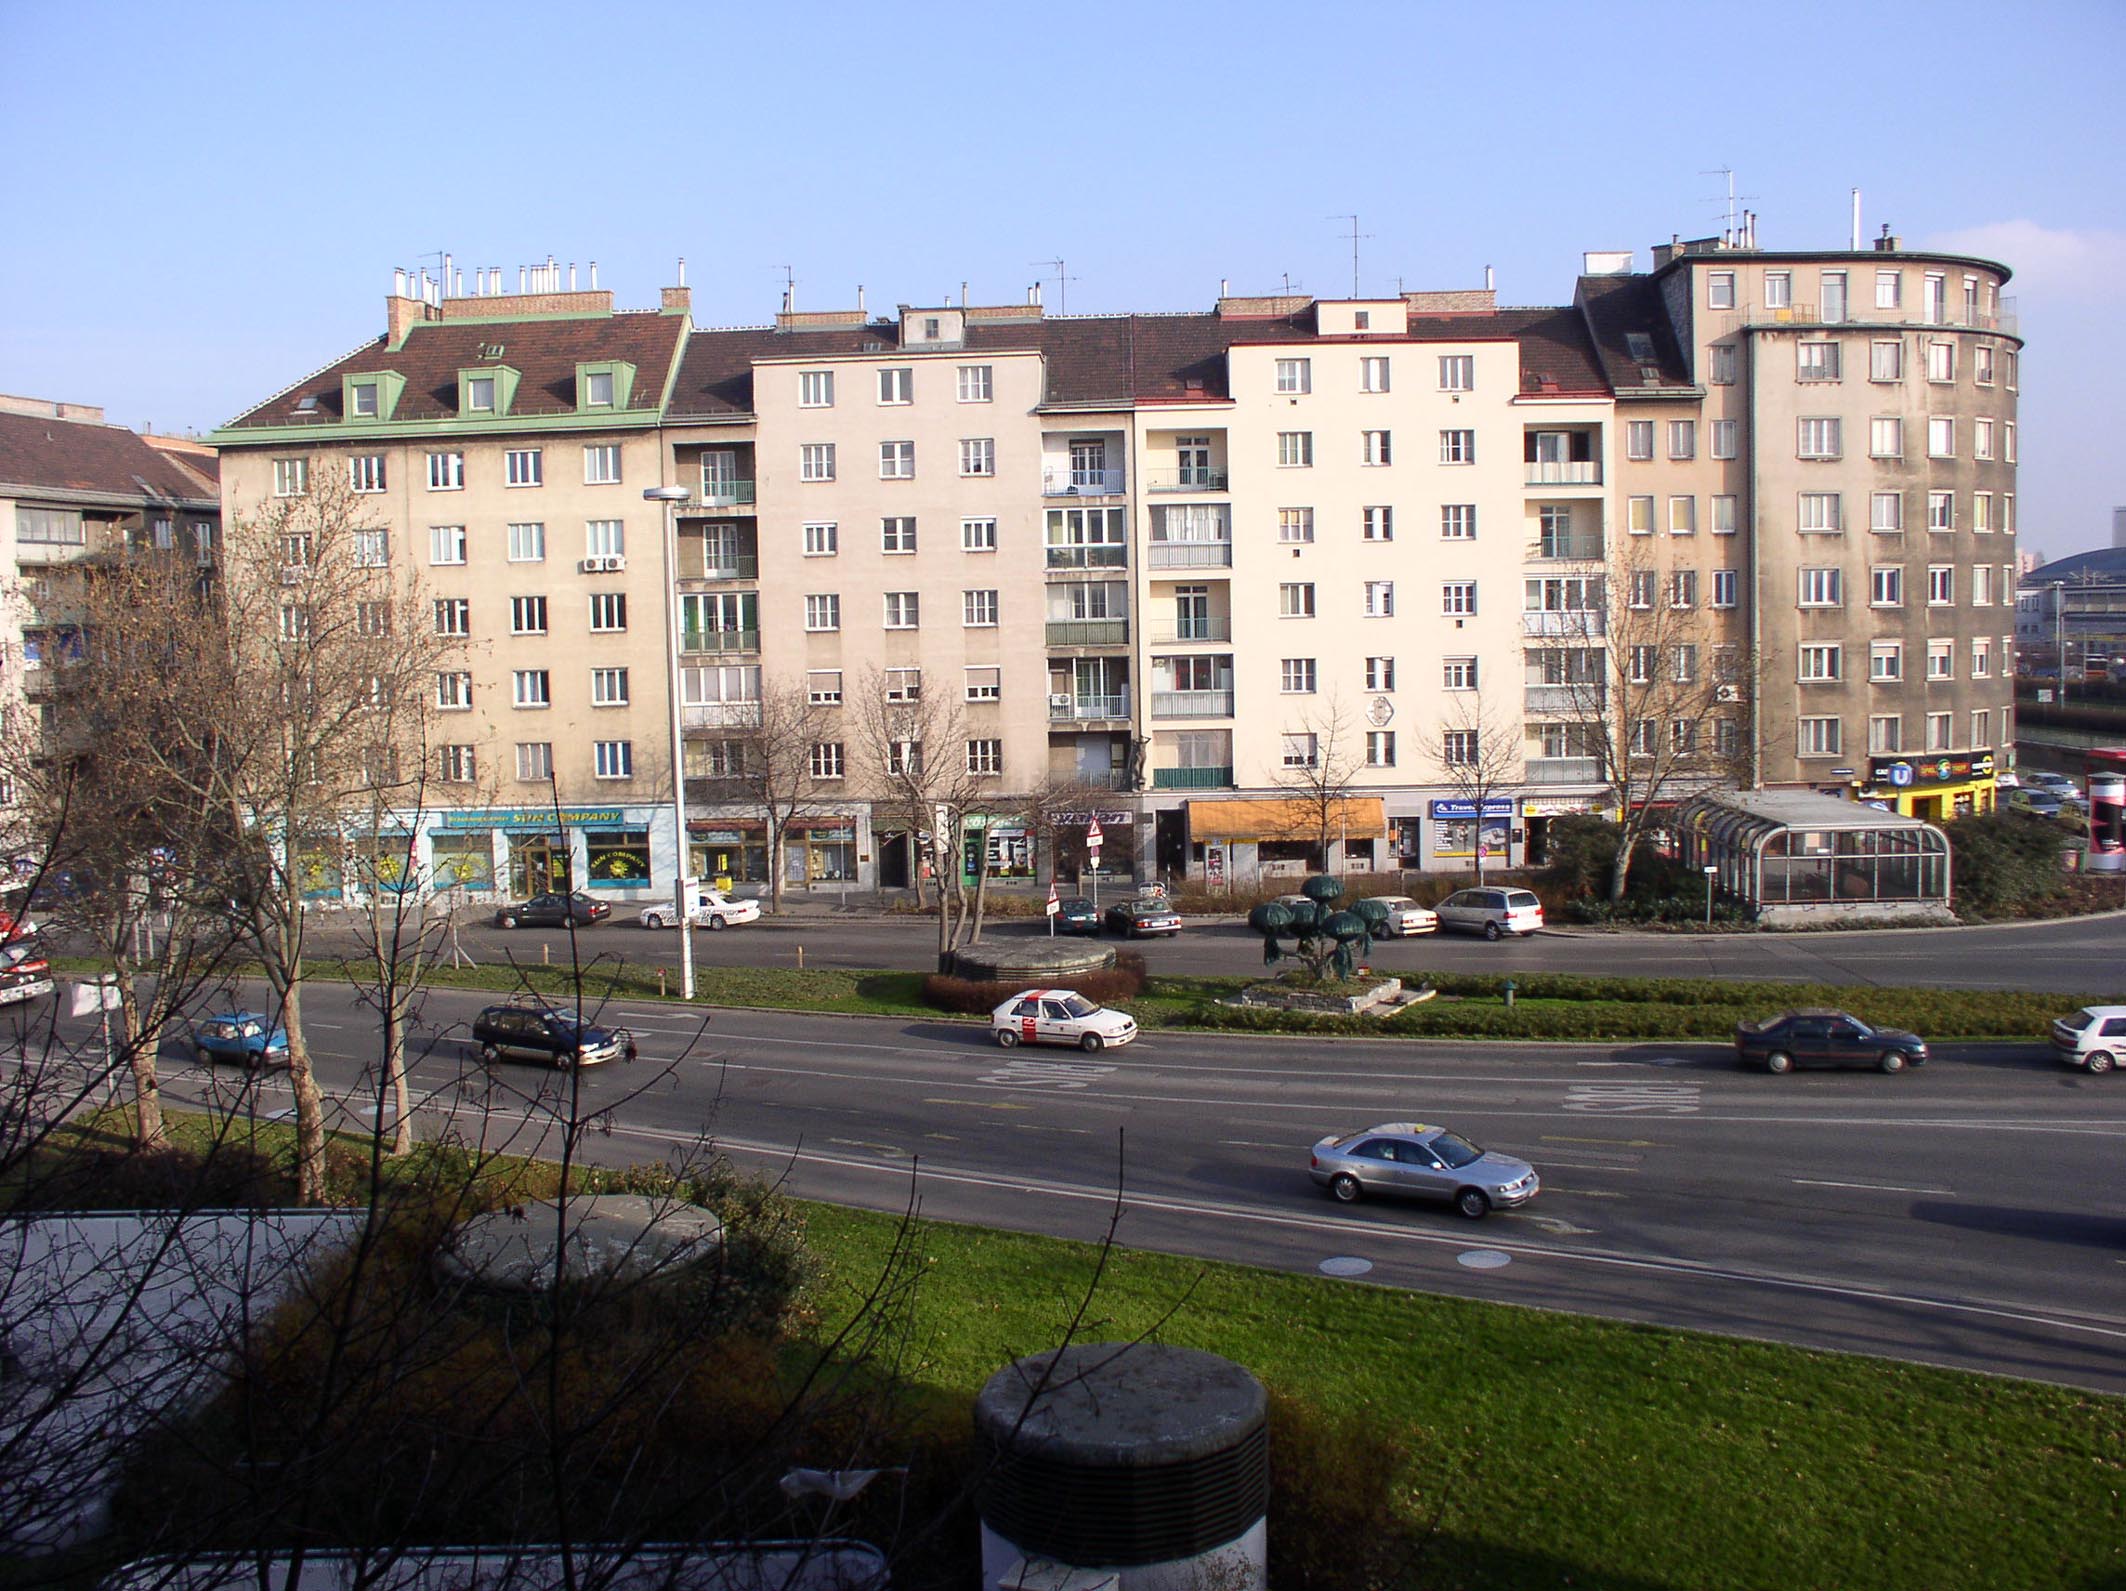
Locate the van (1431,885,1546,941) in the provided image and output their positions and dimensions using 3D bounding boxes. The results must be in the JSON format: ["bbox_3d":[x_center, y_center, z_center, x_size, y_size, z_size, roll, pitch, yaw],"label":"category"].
[{"bbox_3d":[11.141,3.060,68.353,1.327,0.939,2.252,-2,7,-36],"label":"van"}]

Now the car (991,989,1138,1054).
[{"bbox_3d":[0.197,4.898,56.261,2.363,0.903,1.394,-1,3,19],"label":"car"}]

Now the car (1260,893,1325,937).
[{"bbox_3d":[5.299,2.781,59.533,1.455,1.020,2.477,0,-2,11],"label":"car"}]

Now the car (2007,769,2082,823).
[{"bbox_3d":[35.911,0.064,95.044,2.081,1.203,3.401,-1,-3,18],"label":"car"}]

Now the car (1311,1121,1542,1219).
[{"bbox_3d":[6.306,6.409,44.774,3.448,1.206,1.570,-1,6,21],"label":"car"}]
